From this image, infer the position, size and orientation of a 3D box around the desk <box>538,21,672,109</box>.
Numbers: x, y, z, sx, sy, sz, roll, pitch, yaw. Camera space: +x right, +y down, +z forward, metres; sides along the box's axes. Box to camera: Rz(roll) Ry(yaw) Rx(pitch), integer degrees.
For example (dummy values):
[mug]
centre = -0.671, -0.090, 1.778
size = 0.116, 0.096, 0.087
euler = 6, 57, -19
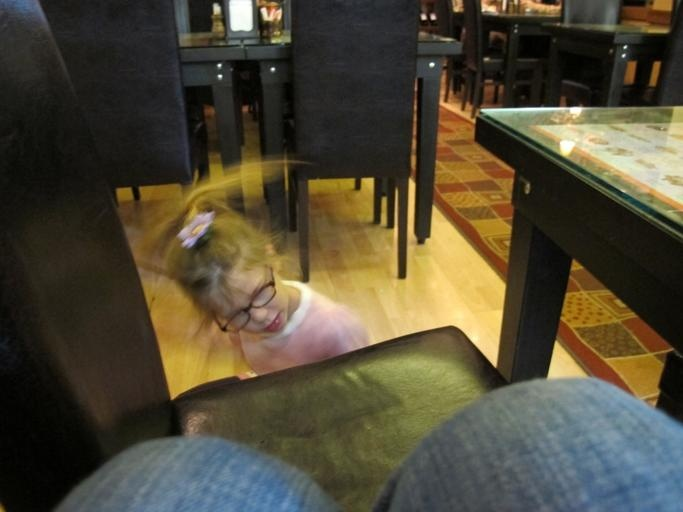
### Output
[desk]
centre = 1.356, -1.048, 2.993
size = 0.558, 0.384, 0.572
euler = -4, 22, -26
